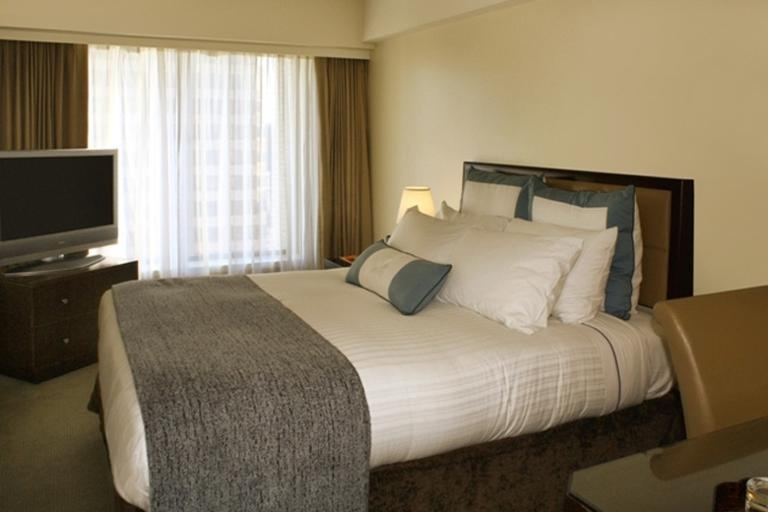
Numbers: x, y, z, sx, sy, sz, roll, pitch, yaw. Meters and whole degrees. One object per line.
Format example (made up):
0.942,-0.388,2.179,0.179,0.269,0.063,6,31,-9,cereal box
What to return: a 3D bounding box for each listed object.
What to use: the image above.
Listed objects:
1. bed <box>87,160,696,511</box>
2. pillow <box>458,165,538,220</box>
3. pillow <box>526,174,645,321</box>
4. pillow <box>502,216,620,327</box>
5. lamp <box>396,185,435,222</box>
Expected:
0.422,0.054,3.635,2.598,1.528,2.586,-4,11,-23,bed
0.821,-0.476,4.360,0.514,0.302,0.150,4,17,-16,pillow
1.331,-0.080,3.933,0.321,0.805,0.900,-17,22,-31,pillow
1.201,0.111,3.502,0.557,0.571,0.163,11,-9,31,pillow
0.311,-0.507,5.293,0.344,0.334,0.350,2,9,13,lamp
